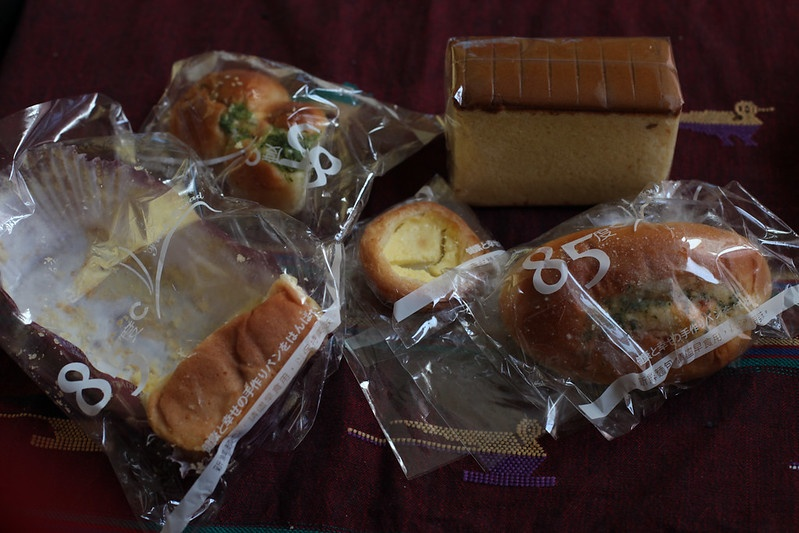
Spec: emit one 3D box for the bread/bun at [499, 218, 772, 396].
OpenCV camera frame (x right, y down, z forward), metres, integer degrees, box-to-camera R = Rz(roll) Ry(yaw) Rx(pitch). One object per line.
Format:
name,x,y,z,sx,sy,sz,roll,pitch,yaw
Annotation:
bread/bun,0.445,0.036,1.420,0.420,0.250,0.292,-10,35,1

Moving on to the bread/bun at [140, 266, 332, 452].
bread/bun,-0.323,0.196,1.404,0.186,0.103,0.387,39,83,-2

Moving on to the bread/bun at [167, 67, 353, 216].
bread/bun,-0.326,-0.290,1.569,0.348,0.118,0.263,45,71,3

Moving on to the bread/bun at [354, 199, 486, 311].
bread/bun,0.039,-0.051,1.520,0.209,0.077,0.242,-2,72,-2
